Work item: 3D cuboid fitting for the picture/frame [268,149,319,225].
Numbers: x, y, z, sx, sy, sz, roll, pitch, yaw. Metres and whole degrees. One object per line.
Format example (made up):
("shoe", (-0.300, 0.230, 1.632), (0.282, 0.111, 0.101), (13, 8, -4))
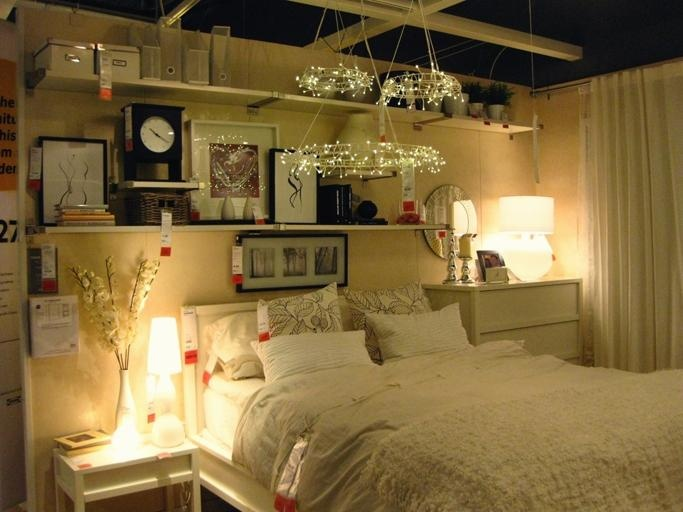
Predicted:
("picture/frame", (-0.371, -0.514, 4.048), (0.523, 0.777, 0.076), (0, -2, -38))

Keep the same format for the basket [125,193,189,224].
("basket", (-1.210, -0.311, 3.608), (0.270, 0.189, 0.266), (0, -2, -43))

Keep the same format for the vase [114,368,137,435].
("vase", (-1.352, 0.883, 3.427), (0.119, 0.350, 0.301), (-4, 4, -22))

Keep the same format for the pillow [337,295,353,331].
("pillow", (0.033, 0.443, 4.205), (0.049, 0.206, 0.178), (-11, -2, 31))

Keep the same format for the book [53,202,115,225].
("book", (-1.543, -0.241, 3.301), (0.323, 0.132, 0.135), (-4, 4, -23))

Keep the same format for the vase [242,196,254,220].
("vase", (-0.668, -0.336, 3.941), (0.072, 0.171, 0.183), (-3, 4, -10))

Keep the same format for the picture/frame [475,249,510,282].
("picture/frame", (1.346, 0.090, 4.899), (0.225, 0.283, 0.026), (10, -23, -30))

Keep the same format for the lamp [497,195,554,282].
("lamp", (1.745, -0.153, 5.140), (0.451, 0.801, 0.473), (1, 0, 30))

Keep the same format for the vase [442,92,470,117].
("vase", (1.008, -1.312, 4.881), (0.222, 0.190, 0.216), (-1, 2, -8))

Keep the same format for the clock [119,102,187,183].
("clock", (-1.226, -0.717, 3.579), (0.374, 0.487, 0.343), (-4, 4, -28))

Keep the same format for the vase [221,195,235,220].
("vase", (-0.776, -0.330, 3.853), (0.074, 0.169, 0.171), (-1, 4, 16))

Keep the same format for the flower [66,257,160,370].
("flower", (-1.499, 0.369, 3.543), (0.254, 0.953, 0.625), (-8, -4, 43))
